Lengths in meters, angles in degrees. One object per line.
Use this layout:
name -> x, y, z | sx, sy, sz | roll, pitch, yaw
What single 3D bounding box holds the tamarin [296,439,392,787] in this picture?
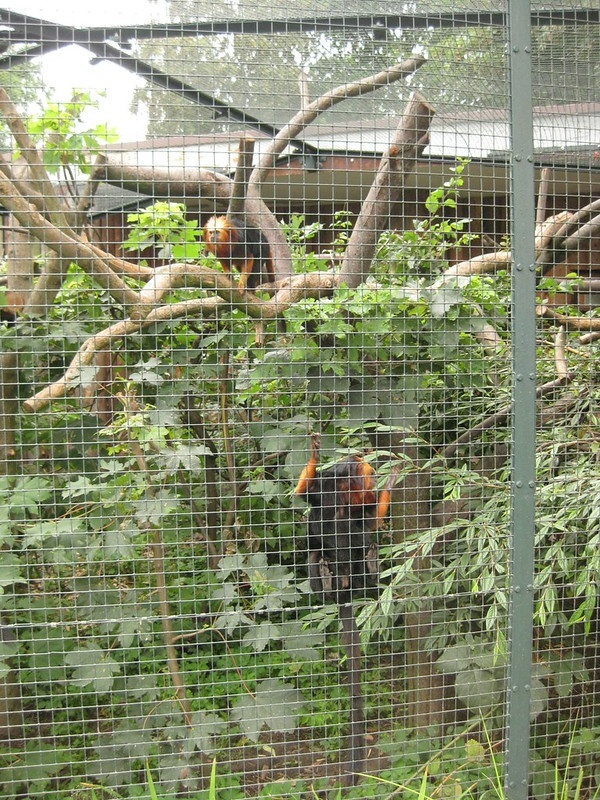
tamarin -> 0.191, 0.820, 5.315 | 0.399, 1.352, 0.561 | -2, -11, -10
